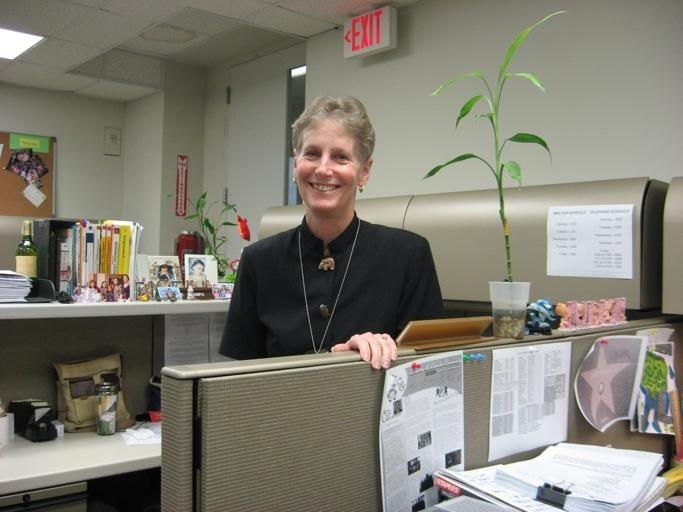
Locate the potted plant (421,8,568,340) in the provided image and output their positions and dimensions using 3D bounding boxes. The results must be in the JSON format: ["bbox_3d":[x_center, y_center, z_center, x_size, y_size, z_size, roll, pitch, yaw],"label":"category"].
[{"bbox_3d":[0.619,-0.290,1.880,0.547,1.230,0.347,-6,-15,14],"label":"potted plant"}]

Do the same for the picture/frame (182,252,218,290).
[{"bbox_3d":[-0.721,0.082,2.683,0.157,0.199,0.014,8,-28,-32],"label":"picture/frame"}]

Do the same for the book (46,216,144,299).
[{"bbox_3d":[-1.054,0.027,2.356,0.315,0.433,0.310,3,-4,-6],"label":"book"}]

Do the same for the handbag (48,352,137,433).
[{"bbox_3d":[-1.079,0.525,2.312,0.393,0.421,0.230,2,-14,-40],"label":"handbag"}]

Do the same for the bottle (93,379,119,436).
[{"bbox_3d":[-0.954,0.615,2.129,0.094,0.209,0.100,1,1,0],"label":"bottle"}]
